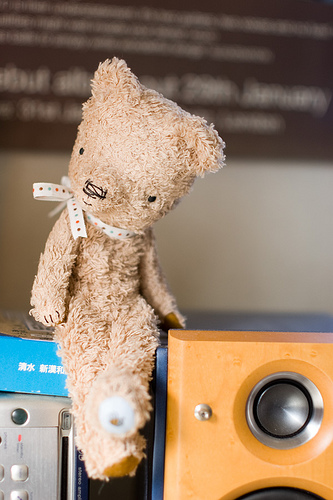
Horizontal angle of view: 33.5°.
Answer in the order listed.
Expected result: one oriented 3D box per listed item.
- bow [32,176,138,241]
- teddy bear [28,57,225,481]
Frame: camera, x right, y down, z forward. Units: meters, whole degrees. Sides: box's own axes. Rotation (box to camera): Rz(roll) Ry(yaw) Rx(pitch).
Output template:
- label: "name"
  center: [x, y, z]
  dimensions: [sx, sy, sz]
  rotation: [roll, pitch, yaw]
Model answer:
- label: "bow"
  center: [-0.138, -0.062, 0.858]
  dimensions: [0.164, 0.093, 0.079]
  rotation: [-7, 21, -28]
- label: "teddy bear"
  center: [-0.053, 0.014, 0.760]
  dimensions: [0.270, 0.550, 0.287]
  rotation: [-4, 5, -13]
